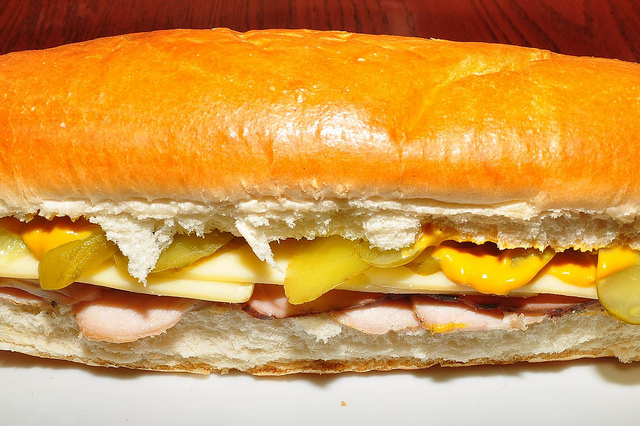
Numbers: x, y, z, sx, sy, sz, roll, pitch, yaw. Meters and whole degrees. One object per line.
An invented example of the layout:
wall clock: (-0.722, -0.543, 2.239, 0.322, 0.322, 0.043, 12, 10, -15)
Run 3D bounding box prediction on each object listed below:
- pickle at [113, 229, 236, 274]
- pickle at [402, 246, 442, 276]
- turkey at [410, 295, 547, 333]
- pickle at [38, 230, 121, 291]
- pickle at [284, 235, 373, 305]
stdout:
pickle: (-0.637, 0.167, 3.968, 0.420, 0.068, 0.244, -11, 35, -15)
pickle: (0.510, 0.234, 4.069, 0.256, 0.060, 0.223, 9, 23, 9)
turkey: (0.772, 0.472, 4.106, 0.578, 0.161, 0.532, -1, 7, 9)
pickle: (-1.122, 0.221, 3.995, 0.438, 0.145, 0.204, -28, 88, -6)
pickle: (0.004, 0.248, 3.947, 0.470, 0.094, 0.253, -20, 79, -1)
